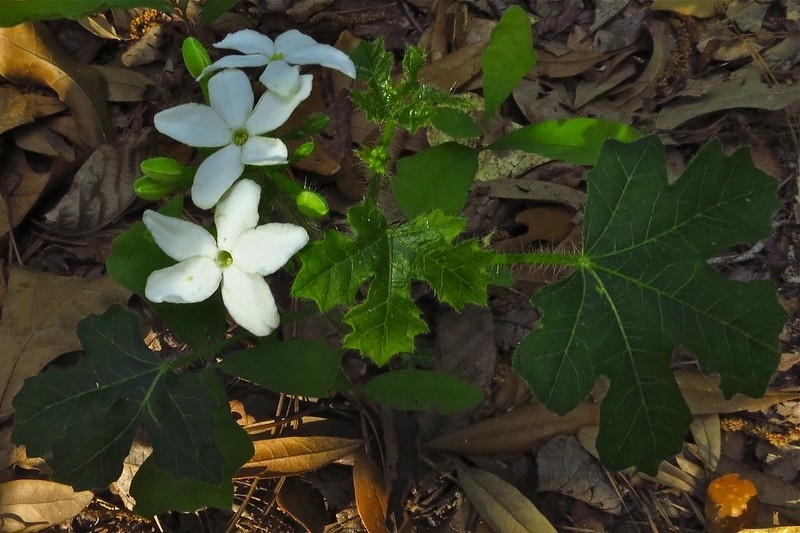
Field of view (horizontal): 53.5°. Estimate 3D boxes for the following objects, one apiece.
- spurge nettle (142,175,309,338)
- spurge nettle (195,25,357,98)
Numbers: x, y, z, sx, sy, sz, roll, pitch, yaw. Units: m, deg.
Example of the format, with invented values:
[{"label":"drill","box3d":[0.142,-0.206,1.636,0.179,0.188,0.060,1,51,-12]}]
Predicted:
[{"label":"spurge nettle","box3d":[-0.862,-0.020,3.805,0.638,0.249,0.706,29,32,-15]},{"label":"spurge nettle","box3d":[-0.573,-0.998,3.777,0.480,0.097,0.474,-16,39,-36]}]
